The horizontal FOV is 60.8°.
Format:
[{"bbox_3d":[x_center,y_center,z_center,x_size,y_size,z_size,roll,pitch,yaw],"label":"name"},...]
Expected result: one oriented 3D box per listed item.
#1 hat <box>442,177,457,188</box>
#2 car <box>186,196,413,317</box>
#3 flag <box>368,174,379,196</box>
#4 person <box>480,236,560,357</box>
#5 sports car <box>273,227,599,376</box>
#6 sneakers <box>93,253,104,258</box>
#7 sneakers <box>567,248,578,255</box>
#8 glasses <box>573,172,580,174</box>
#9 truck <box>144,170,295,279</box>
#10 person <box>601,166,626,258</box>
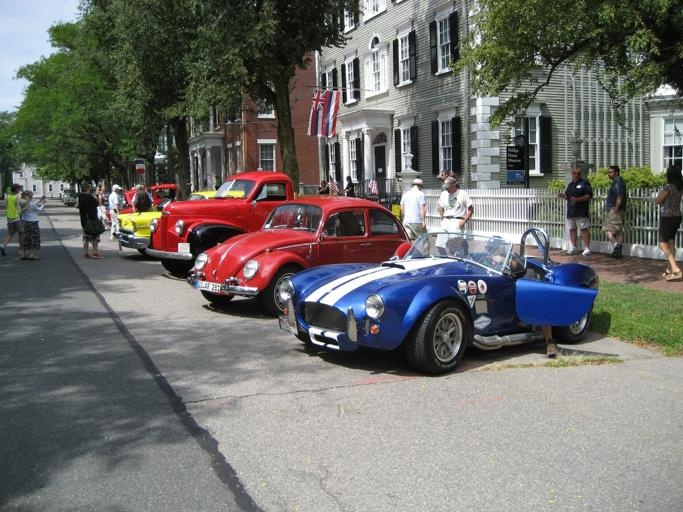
[{"bbox_3d":[2.513,-1.698,13.499,0.260,0.292,0.476,0,8,10],"label":"hat"},{"bbox_3d":[-0.840,-0.230,10.868,3.599,1.806,2.015,-3,4,-34],"label":"car"},{"bbox_3d":[1.652,-3.471,29.735,0.514,0.771,0.922,-1,8,4],"label":"flag"},{"bbox_3d":[2.555,0.550,7.896,0.478,1.998,0.527,-8,2,18],"label":"person"},{"bbox_3d":[1.402,0.576,7.495,2.818,1.143,2.285,1,1,-32],"label":"sports car"},{"bbox_3d":[-7.741,-0.003,18.609,0.114,0.151,0.326,11,5,34],"label":"sneakers"},{"bbox_3d":[6.418,-0.130,16.240,0.338,0.172,0.131,-1,4,-31],"label":"sneakers"},{"bbox_3d":[6.361,-2.238,15.767,0.154,0.093,0.158,2,9,23],"label":"glasses"},{"bbox_3d":[-2.905,-0.954,14.514,3.553,1.912,1.972,-2,4,-31],"label":"truck"},{"bbox_3d":[7.101,-1.156,15.087,0.514,2.345,0.753,3,9,25],"label":"person"}]
